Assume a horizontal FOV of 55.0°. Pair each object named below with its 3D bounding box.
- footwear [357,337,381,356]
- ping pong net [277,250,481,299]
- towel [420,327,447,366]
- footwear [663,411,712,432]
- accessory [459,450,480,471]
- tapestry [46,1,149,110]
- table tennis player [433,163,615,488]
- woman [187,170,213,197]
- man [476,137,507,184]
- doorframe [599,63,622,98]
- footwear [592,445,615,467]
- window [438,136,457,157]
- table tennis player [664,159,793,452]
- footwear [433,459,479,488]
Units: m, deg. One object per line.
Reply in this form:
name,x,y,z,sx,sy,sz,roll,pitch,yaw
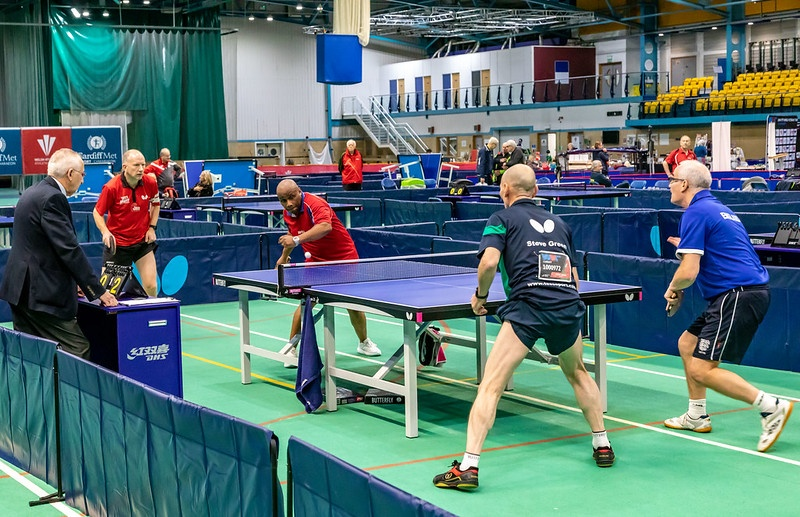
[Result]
footwear,-0.373,1.101,9.482,0.333,0.170,0.155,2,3,43
ping pong net,-0.176,0.161,8.694,2.312,0.482,0.305,-5,-14,-7
towel,0.362,1.050,8.978,0.255,0.480,0.333,7,-3,-45
footwear,2.663,1.523,7.175,0.442,0.194,0.167,3,3,33
accessory,0.536,1.545,5.937,0.082,0.143,0.201,3,-1,-27
tapestry,-12.550,-7.946,32.213,0.625,3.344,3.786,8,14,41
table tennis player,0.929,0.437,6.592,1.319,2.588,1.514,-1,-2,-12
woman,-4.999,-1.938,19.376,0.615,1.039,0.715,2,1,-12
man,2.525,-2.432,21.922,0.748,1.936,0.622,4,10,-8
doorframe,10.926,-9.244,40.003,1.183,2.010,5.253,1,10,15
footwear,1.701,1.649,6.410,0.098,0.106,0.228,-1,4,7
window,2.943,-6.688,46.211,0.583,1.244,1.744,-12,17,-1
table tennis player,2.693,0.347,6.770,1.012,2.466,1.282,-2,2,-42
footwear,0.443,1.689,6.044,0.154,0.209,0.424,10,-12,-39
